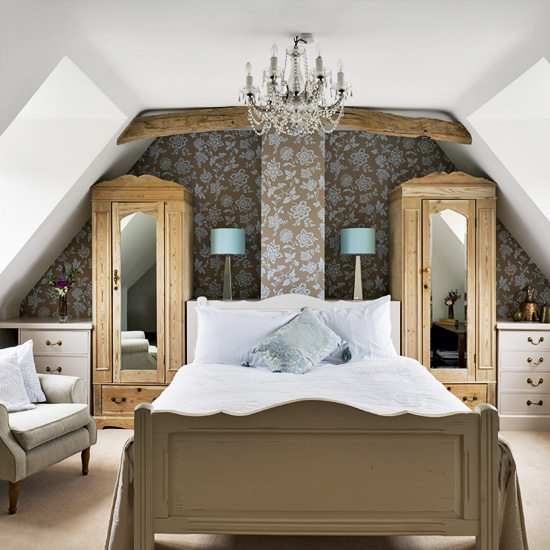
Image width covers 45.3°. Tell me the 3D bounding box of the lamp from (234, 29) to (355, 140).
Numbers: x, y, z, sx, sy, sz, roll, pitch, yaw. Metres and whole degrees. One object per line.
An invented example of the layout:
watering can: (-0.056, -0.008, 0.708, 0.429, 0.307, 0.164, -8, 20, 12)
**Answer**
lamp: (0.119, -1.124, 3.767, 0.610, 0.599, 0.590, -3, 2, -36)

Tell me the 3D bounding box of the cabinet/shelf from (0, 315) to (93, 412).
cabinet/shelf: (-1.532, 0.615, 4.496, 0.666, 0.629, 0.344, 0, -4, -5)

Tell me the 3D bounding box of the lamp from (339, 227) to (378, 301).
lamp: (0.651, -0.100, 5.213, 0.258, 0.554, 0.450, 1, 8, 5)

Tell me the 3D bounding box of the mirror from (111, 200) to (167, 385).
mirror: (-1.011, 0.066, 4.976, 0.483, 1.577, 0.121, -1, -23, -11)

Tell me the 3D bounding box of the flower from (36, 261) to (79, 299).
flower: (-1.748, 0.016, 5.340, 0.300, 0.300, 0.117, -43, 3, -9)

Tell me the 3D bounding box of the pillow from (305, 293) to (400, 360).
pillow: (0.609, 0.368, 4.481, 0.484, 0.455, 0.145, -4, -26, -21)

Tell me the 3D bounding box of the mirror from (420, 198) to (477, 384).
mirror: (1.321, 0.098, 4.990, 0.432, 1.726, 0.146, 2, -33, 13)
